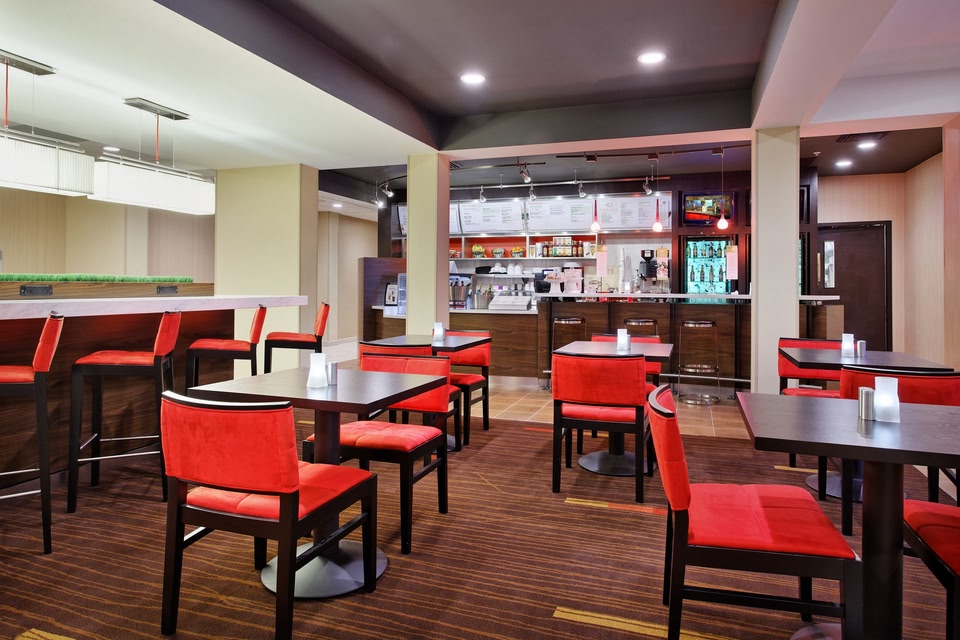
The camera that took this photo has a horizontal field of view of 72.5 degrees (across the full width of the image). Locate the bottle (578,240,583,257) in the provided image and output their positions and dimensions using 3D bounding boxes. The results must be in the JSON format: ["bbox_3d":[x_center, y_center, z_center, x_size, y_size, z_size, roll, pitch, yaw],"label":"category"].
[{"bbox_3d":[1.752,-1.244,11.504,0.119,0.262,0.267,-1,3,9],"label":"bottle"}]

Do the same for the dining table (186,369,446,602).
[{"bbox_3d":[-0.947,1.118,4.694,1.534,1.406,1.526,0,-1,22],"label":"dining table"}]

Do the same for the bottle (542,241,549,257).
[{"bbox_3d":[1.139,-1.221,11.538,0.200,0.272,0.163,-1,3,6],"label":"bottle"}]

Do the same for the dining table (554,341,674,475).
[{"bbox_3d":[1.235,0.754,5.903,1.178,1.071,1.171,2,6,19],"label":"dining table"}]

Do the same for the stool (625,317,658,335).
[{"bbox_3d":[2.098,0.091,8.502,0.308,0.271,0.274,1,5,11],"label":"stool"}]

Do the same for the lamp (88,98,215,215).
[{"bbox_3d":[-3.663,-1.856,7.309,0.366,0.850,1.046,1,1,24],"label":"lamp"}]

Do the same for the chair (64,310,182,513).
[{"bbox_3d":[-2.910,0.682,5.342,0.832,1.468,1.039,-3,3,-31],"label":"chair"}]

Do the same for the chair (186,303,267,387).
[{"bbox_3d":[-2.540,0.237,6.548,0.817,1.036,0.711,3,-1,-21],"label":"chair"}]

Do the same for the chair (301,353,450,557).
[{"bbox_3d":[-0.450,0.861,5.059,1.248,1.676,1.236,-1,-3,21],"label":"chair"}]
